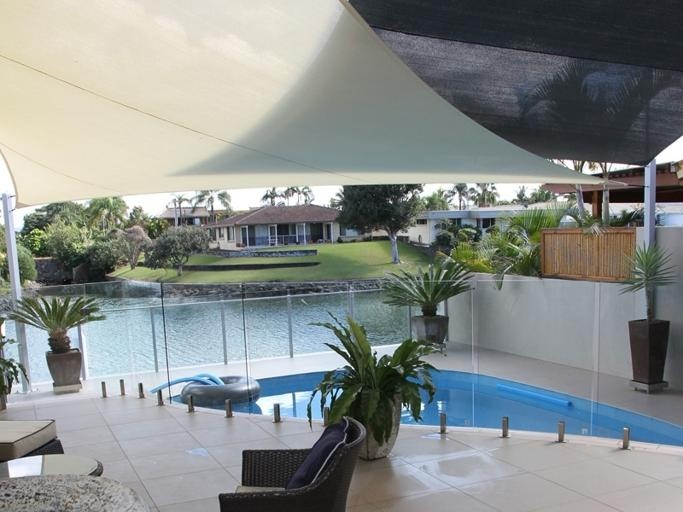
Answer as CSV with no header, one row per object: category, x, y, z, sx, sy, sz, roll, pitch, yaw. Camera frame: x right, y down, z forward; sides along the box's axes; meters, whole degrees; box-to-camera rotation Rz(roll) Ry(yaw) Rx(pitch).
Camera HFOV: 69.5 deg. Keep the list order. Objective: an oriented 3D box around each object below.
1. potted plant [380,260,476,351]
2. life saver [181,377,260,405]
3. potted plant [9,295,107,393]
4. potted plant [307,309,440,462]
potted plant,0.939,0.570,5.764,1.046,0.755,0.960,-1,-3,-7
life saver,-1.671,1.858,6.693,0.621,0.180,0.561,0,1,14
potted plant,-4.732,1.499,8.021,1.514,1.516,1.506,-12,-11,5
potted plant,0.317,1.367,4.811,1.086,0.991,1.180,0,-3,-26
